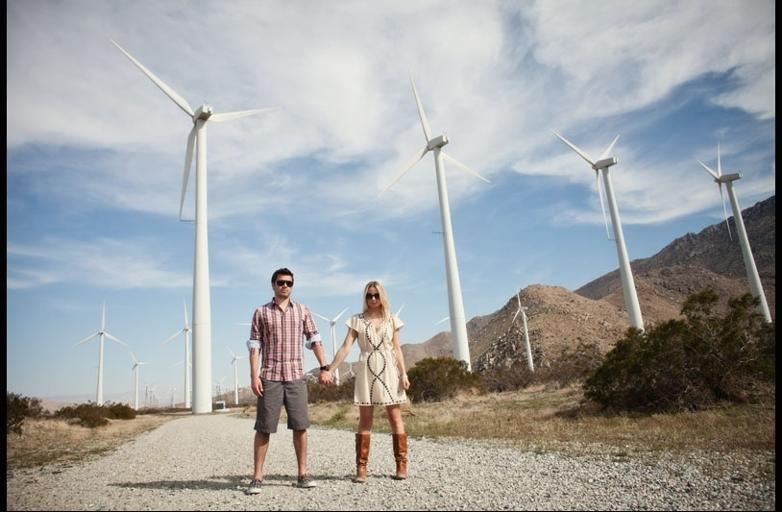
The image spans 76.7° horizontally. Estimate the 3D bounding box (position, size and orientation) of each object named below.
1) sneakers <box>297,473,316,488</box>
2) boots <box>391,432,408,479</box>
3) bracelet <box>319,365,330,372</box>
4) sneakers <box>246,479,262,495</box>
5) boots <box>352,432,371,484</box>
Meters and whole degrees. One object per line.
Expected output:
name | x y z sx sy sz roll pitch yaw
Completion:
sneakers | -1.821 4.769 10.407 0.509 0.201 0.197 -17 -24 42
boots | 0.197 4.333 10.741 0.310 0.979 0.488 -2 -9 -2
bracelet | -1.449 2.425 10.640 0.166 0.123 0.181 -10 -8 21
sneakers | -2.778 4.705 10.017 0.171 0.172 0.371 3 -8 -5
boots | -0.654 4.331 10.687 0.322 1.009 0.438 -1 -9 -5
